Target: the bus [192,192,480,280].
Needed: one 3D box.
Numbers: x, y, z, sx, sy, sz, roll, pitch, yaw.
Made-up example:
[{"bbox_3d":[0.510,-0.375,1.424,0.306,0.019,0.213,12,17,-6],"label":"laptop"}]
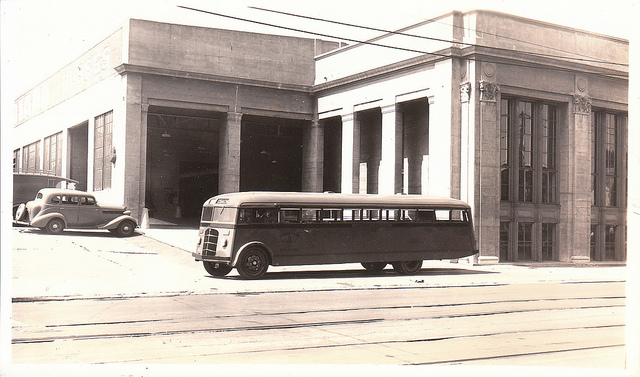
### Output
[{"bbox_3d":[0.228,2.289,33.005,16.180,4.054,4.965,3,-8,-22],"label":"bus"}]
